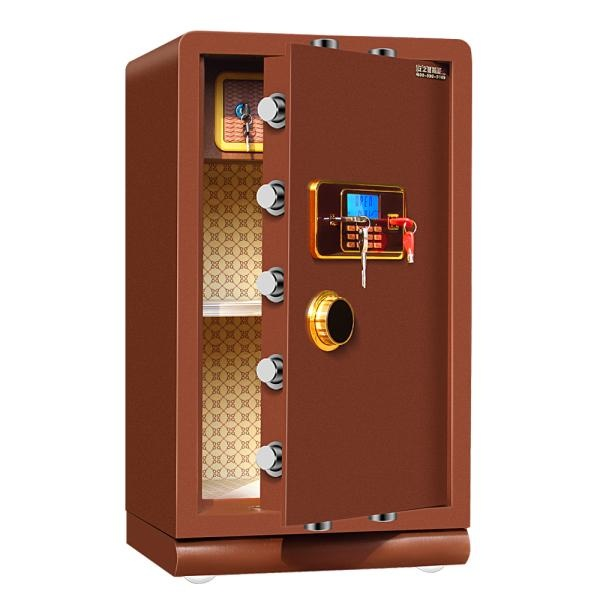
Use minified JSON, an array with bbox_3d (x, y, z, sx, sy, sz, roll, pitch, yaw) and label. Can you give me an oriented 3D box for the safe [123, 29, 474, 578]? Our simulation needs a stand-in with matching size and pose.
[{"bbox_3d":[-0.022,0.022,2.401,1.213,1.107,1.624,1,-93,-41],"label":"safe"}]
